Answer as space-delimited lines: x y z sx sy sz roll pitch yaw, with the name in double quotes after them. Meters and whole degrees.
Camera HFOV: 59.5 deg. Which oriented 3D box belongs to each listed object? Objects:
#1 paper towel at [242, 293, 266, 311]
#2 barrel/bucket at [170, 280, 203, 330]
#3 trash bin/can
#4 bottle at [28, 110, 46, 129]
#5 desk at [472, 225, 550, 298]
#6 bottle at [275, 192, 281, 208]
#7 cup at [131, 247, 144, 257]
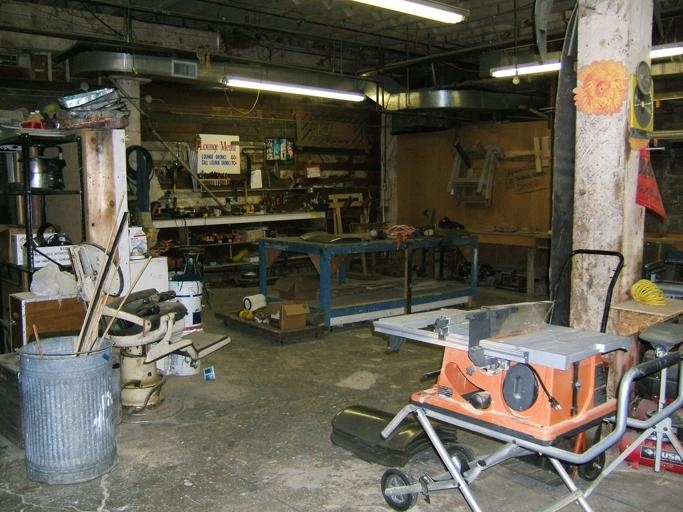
-1.045 0.554 7.312 0.216 0.203 0.283 5 9 40 "paper towel"
-1.555 0.503 6.098 0.336 0.547 0.315 0 14 0 "barrel/bucket"
-1.881 1.084 4.119 0.607 0.899 0.348 -5 15 -20 "trash bin/can"
-2.981 -1.325 5.806 0.153 0.176 0.709 -6 13 -26 "bottle"
2.874 0.089 10.015 0.749 0.796 1.261 -6 11 -26 "desk"
-1.204 -1.024 11.119 0.090 0.248 0.278 2 13 9 "bottle"
-1.958 -0.043 5.709 0.110 0.069 0.145 -3 12 -15 "cup"
